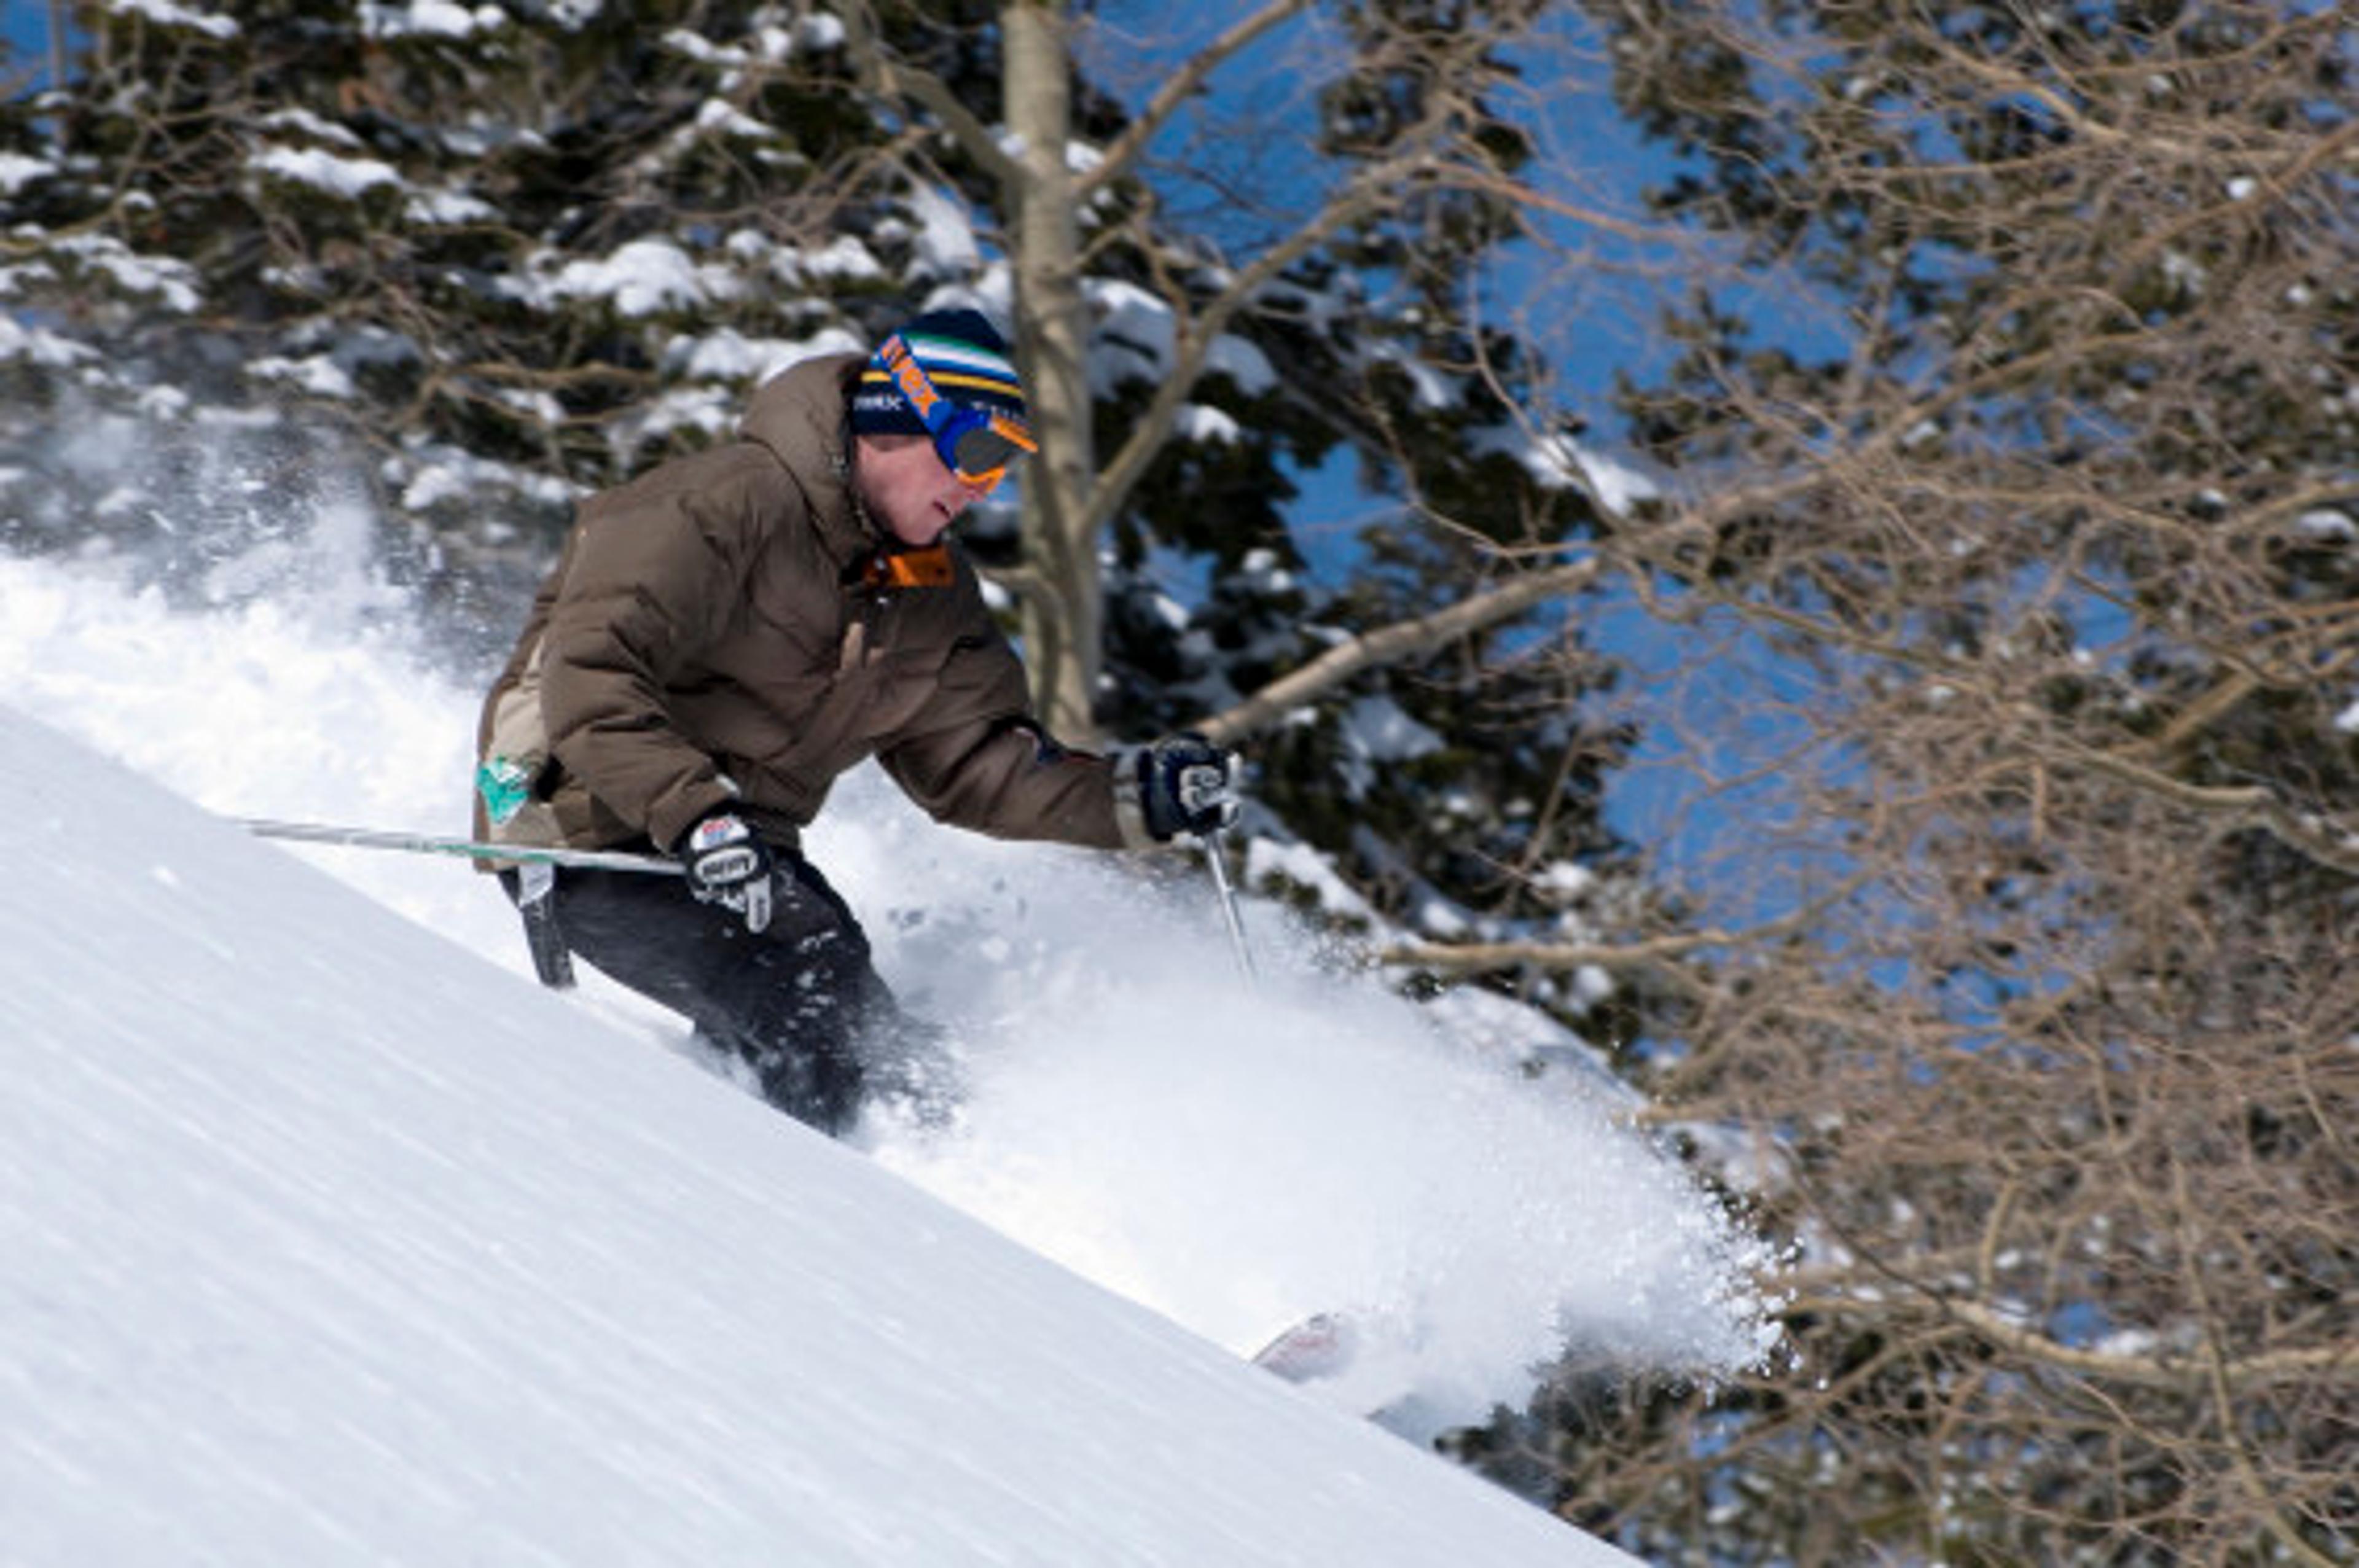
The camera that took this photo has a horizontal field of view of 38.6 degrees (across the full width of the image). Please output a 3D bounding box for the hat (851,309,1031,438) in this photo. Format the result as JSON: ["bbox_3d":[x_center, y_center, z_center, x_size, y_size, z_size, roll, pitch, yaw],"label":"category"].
[{"bbox_3d":[-0.685,-1.275,10.255,0.596,0.394,0.410,18,28,30],"label":"hat"}]

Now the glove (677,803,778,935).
[{"bbox_3d":[-1.348,0.219,9.844,0.384,0.131,0.231,-12,69,-5],"label":"glove"}]
